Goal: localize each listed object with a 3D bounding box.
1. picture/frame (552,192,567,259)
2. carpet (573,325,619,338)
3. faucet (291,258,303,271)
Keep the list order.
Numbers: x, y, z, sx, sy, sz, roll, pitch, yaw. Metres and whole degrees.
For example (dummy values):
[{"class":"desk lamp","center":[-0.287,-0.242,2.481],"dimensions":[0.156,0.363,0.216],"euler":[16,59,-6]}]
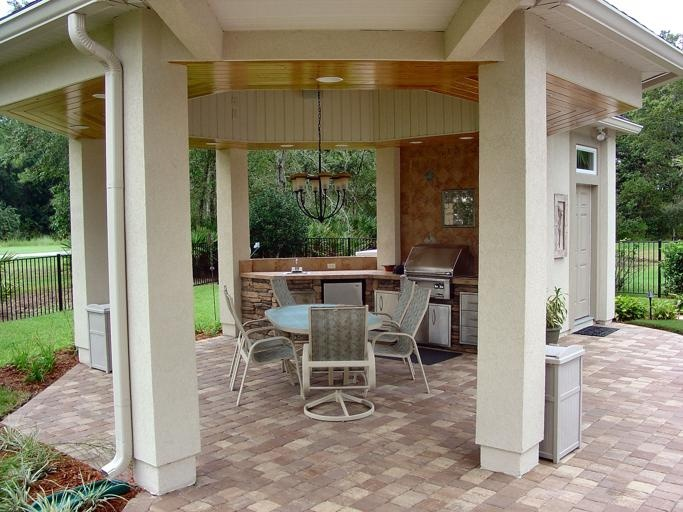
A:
[{"class":"picture/frame","center":[3.678,-0.507,8.620],"dimensions":[0.433,1.057,0.148],"euler":[-4,4,-38]},{"class":"carpet","center":[4.713,1.375,9.401],"dimensions":[0.520,0.039,1.030],"euler":[4,7,41]},{"class":"faucet","center":[-0.842,0.173,9.477],"dimensions":[0.236,0.298,0.235],"euler":[0,-5,-2]}]
